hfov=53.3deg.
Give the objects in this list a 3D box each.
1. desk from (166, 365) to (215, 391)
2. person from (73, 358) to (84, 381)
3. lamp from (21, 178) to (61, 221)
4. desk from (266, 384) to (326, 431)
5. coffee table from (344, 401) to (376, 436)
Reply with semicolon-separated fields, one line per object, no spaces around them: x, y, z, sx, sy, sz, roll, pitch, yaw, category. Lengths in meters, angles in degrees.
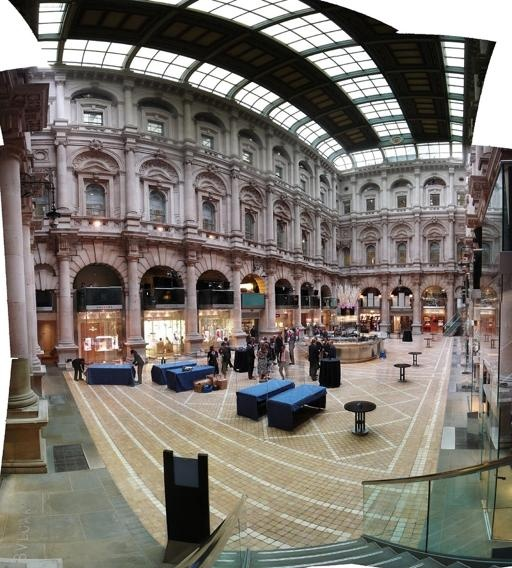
-2.198;3.102;16.764;0.915;0.682;1.741;-2;-2;31;desk
-6.306;3.033;18.074;0.380;0.702;0.565;-1;-2;-21;person
-7.836;-3.203;18.412;1.394;1.635;1.387;-6;15;-15;lamp
1.137;3.146;12.746;0.835;0.742;2.240;-22;-16;19;desk
2.332;2.978;11.281;0.766;0.525;0.751;-1;0;21;coffee table
